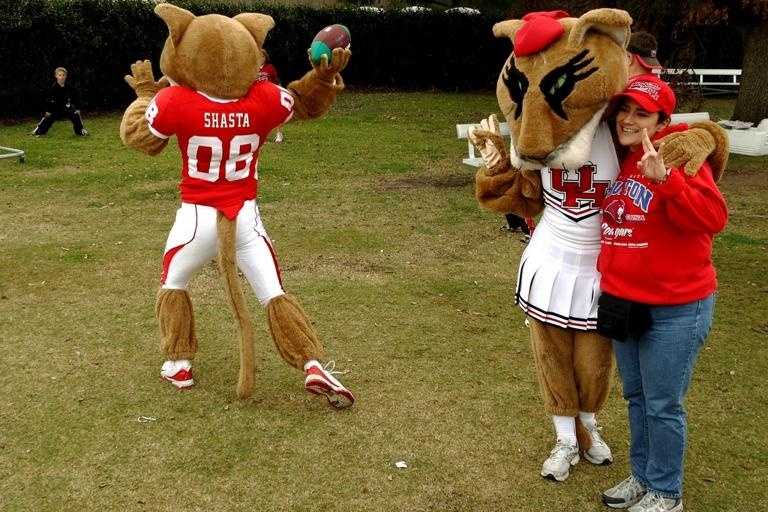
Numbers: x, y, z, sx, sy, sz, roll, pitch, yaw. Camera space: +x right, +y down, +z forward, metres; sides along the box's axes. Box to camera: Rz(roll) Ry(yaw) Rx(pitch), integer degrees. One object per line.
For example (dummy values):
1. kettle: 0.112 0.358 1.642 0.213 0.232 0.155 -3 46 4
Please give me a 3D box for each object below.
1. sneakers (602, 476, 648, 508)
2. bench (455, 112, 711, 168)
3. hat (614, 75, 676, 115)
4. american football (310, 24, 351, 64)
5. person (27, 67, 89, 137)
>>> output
1. sneakers: 1.760 1.755 5.600 0.402 0.172 0.145 -20 41 -2
2. bench: 1.484 -0.858 5.625 1.790 0.297 0.340 -8 21 -23
3. hat: 1.858 -1.163 5.397 0.435 0.253 0.536 21 14 12
4. american football: -0.442 -1.861 6.496 0.366 0.224 0.235 -45 29 -19
5. person: -7.117 -3.399 16.700 1.064 1.424 1.125 -5 16 -15
